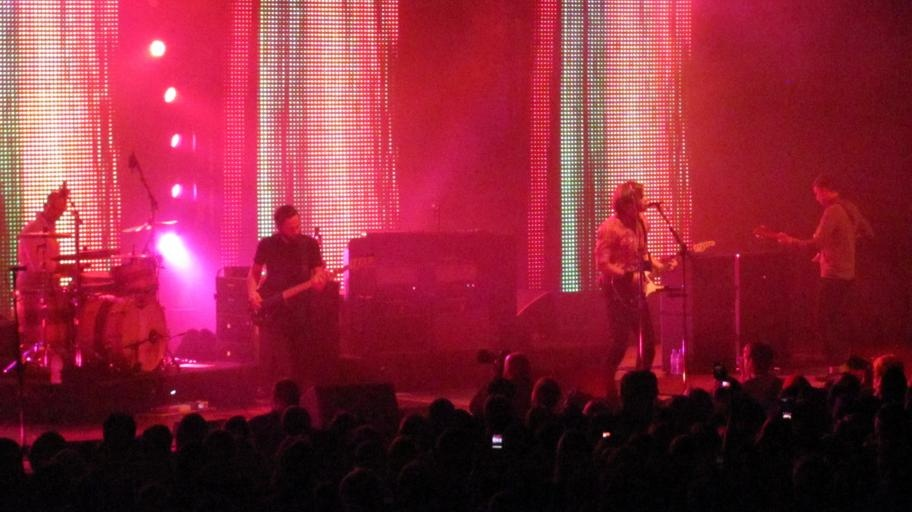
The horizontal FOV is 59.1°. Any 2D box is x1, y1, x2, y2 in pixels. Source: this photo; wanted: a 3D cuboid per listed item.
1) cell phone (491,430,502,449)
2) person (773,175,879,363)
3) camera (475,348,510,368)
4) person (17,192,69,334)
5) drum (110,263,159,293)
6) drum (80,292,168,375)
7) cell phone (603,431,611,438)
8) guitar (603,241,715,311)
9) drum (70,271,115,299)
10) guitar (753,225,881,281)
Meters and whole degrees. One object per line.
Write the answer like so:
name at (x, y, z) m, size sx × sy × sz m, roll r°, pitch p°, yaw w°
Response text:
cell phone at (0.352, 1.557, 6.786) m, size 0.131 × 0.129 × 0.100 m, roll -5°, pitch -9°, yaw 41°
person at (4.951, 0.247, 10.583) m, size 0.986 × 2.383 × 1.416 m, roll -7°, pitch -12°, yaw 26°
camera at (0.420, 1.060, 8.427) m, size 0.225 × 0.161 × 0.395 m, roll 3°, pitch 3°, yaw 44°
person at (-5.121, -0.062, 10.012) m, size 0.510 × 1.998 × 1.001 m, roll 4°, pitch -12°, yaw -27°
drum at (-3.933, 0.276, 9.919) m, size 0.426 × 0.199 × 0.330 m, roll -5°, pitch -8°, yaw 38°
drum at (-4.015, 0.986, 9.864) m, size 0.700 × 0.901 × 0.888 m, roll -2°, pitch -5°, yaw 19°
cell phone at (1.292, 1.535, 6.880) m, size 0.065 × 0.055 × 0.048 m, roll 2°, pitch -7°, yaw -23°
guitar at (2.508, 0.271, 9.932) m, size 1.080 × 0.414 × 0.148 m, roll -16°, pitch 29°, yaw -4°
drum at (-4.386, 0.362, 9.773) m, size 0.559 × 0.290 × 0.366 m, roll 2°, pitch 0°, yaw -28°
guitar at (4.425, -0.087, 10.756) m, size 1.312 × 0.600 × 1.417 m, roll -4°, pitch 2°, yaw -32°
